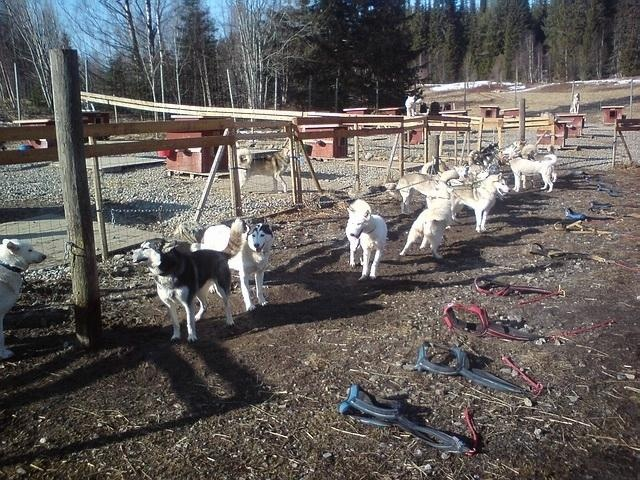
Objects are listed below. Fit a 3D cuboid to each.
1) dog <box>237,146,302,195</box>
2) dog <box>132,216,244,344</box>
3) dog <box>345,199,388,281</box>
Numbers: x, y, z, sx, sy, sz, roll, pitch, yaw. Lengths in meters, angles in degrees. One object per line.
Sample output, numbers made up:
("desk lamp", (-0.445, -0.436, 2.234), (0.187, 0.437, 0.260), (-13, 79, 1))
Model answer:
("dog", (-1.656, -2.218, 13.742), (1.862, 1.391, 0.666), (-3, -7, 6))
("dog", (-1.575, 0.504, 5.730), (0.843, 1.279, 1.192), (0, 14, 12))
("dog", (0.766, -0.049, 7.409), (0.629, 1.226, 1.047), (-2, 13, 6))
